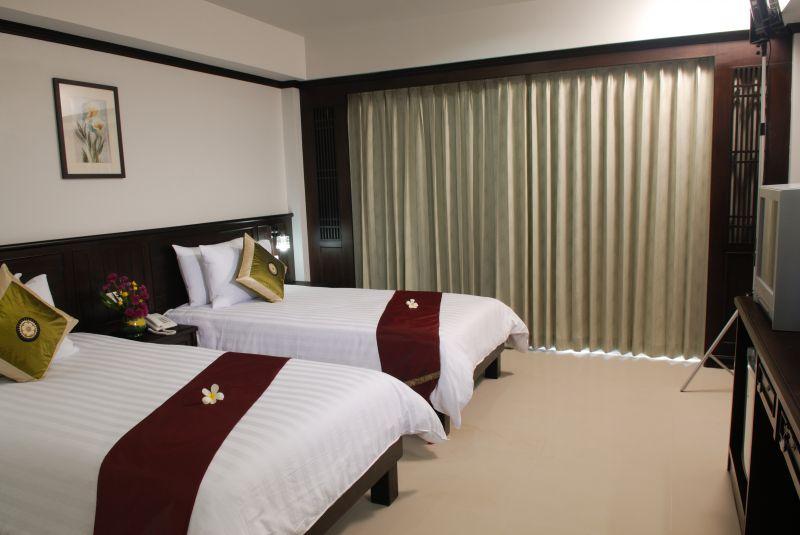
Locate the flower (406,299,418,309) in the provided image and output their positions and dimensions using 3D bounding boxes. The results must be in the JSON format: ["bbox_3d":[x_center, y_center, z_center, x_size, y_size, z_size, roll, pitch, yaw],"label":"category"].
[{"bbox_3d":[0.112,0.337,4.852,0.078,0.022,0.078,-9,18,-28],"label":"flower"}]

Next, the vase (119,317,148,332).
[{"bbox_3d":[-2.274,0.488,4.474,0.120,0.135,0.122,2,3,-8],"label":"vase"}]

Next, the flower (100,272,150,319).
[{"bbox_3d":[-2.369,0.260,4.508,0.331,0.401,0.263,-11,11,-32],"label":"flower"}]

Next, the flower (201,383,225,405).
[{"bbox_3d":[-1.147,0.776,3.213,0.111,0.041,0.122,2,21,-7],"label":"flower"}]
